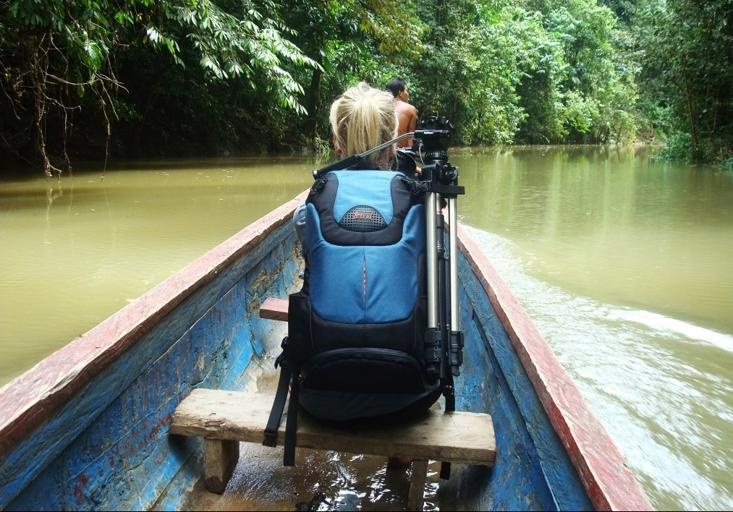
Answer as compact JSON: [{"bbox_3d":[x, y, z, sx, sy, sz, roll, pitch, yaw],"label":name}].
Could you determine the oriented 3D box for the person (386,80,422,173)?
[{"bbox_3d":[0.444,-1.464,6.623,0.431,1.285,0.389,25,47,35],"label":"person"}]

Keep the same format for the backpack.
[{"bbox_3d":[-0.014,0.108,2.348,0.575,0.943,0.491,1,-10,0],"label":"backpack"}]
